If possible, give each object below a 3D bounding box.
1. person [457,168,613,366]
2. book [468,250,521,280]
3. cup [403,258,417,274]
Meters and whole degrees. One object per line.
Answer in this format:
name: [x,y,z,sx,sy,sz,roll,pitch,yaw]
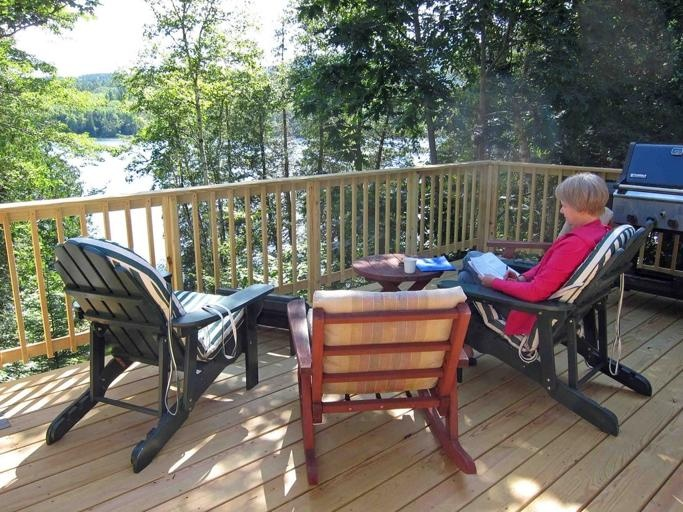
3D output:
person: [1.342,-0.072,3.624,0.992,1.246,0.821,16,26,40]
book: [0.986,0.050,3.804,0.233,0.068,0.229,-2,36,-31]
cup: [0.495,0.072,4.165,0.087,0.088,0.106,1,-3,10]
